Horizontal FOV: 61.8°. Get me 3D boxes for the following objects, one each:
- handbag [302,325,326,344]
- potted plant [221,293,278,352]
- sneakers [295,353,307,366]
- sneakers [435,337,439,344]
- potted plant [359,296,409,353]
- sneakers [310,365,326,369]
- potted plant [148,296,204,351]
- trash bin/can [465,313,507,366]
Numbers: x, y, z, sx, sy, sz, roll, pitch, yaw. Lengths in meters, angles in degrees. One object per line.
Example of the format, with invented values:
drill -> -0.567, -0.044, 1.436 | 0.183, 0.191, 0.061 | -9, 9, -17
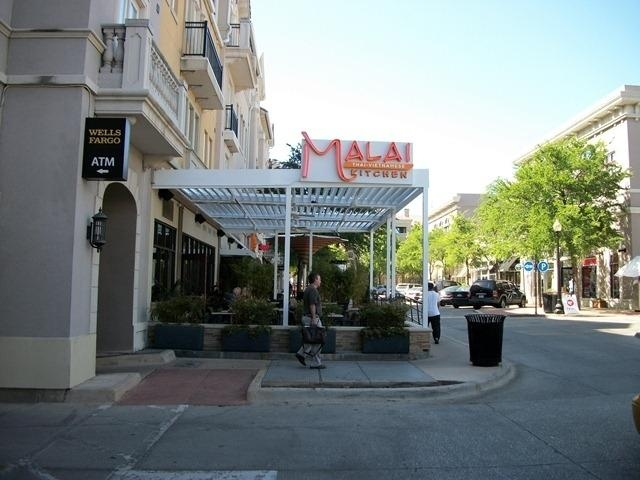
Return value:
handbag -> -0.144, 2.065, 11.660 | 0.361, 0.373, 0.150 | 1, 3, -1
potted plant -> -1.827, 1.964, 13.605 | 1.287, 1.433, 1.142 | 3, 17, -13
sneakers -> -0.405, 2.683, 11.939 | 0.171, 0.443, 0.146 | -14, 35, 9
sneakers -> 3.565, 3.104, 16.392 | 0.114, 0.240, 0.123 | 1, -2, 9
potted plant -> 1.578, 2.139, 13.368 | 1.133, 1.234, 1.119 | 1, -11, -4
sneakers -> -0.047, 2.771, 11.790 | 0.332, 0.157, 0.118 | 0, -2, -1
potted plant -> -3.604, 2.085, 13.708 | 1.243, 1.368, 1.039 | 3, -5, -19
trash bin/can -> 3.858, 2.248, 12.458 | 1.106, 1.364, 1.100 | 0, -6, 2
